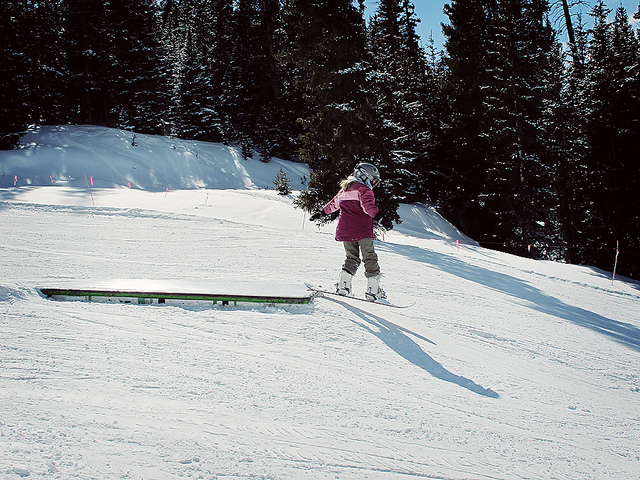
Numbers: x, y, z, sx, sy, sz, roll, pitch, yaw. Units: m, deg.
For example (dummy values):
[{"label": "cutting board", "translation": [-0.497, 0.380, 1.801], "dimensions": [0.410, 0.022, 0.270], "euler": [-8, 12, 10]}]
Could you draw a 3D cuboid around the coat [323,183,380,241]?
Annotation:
[{"label": "coat", "translation": [1.149, -0.822, 21.200], "dimensions": [1.379, 1.496, 1.455], "euler": [-18, 14, -30]}]
